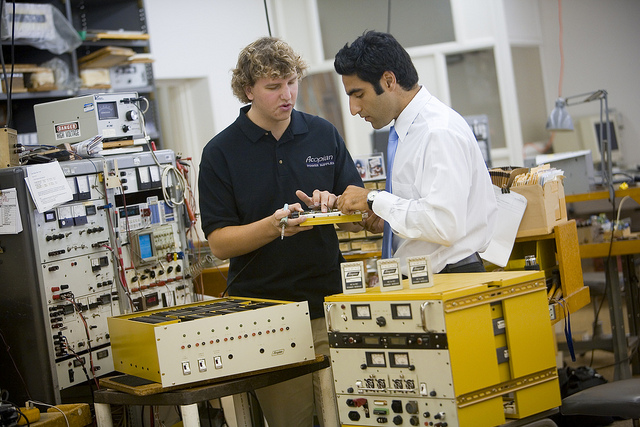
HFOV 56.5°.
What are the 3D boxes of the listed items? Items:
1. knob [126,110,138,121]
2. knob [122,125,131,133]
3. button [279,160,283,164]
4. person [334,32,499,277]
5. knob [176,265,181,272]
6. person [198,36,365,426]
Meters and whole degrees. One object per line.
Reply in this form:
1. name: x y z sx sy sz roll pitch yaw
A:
1. knob: -1.288 -0.669 4.078 0.031 0.066 0.059 -1 10 26
2. knob: -1.312 -0.575 4.061 0.041 0.033 0.049 -19 -8 24
3. button: -0.215 -0.284 3.287 0.018 0.021 0.006 1 0 -9
4. person: 0.449 -0.308 3.006 0.660 1.239 0.427 -2 4 31
5. knob: -0.976 0.381 4.126 0.033 0.051 0.010 -8 5 -39
6. person: -0.217 0.093 3.266 0.874 2.114 0.572 -4 4 4
